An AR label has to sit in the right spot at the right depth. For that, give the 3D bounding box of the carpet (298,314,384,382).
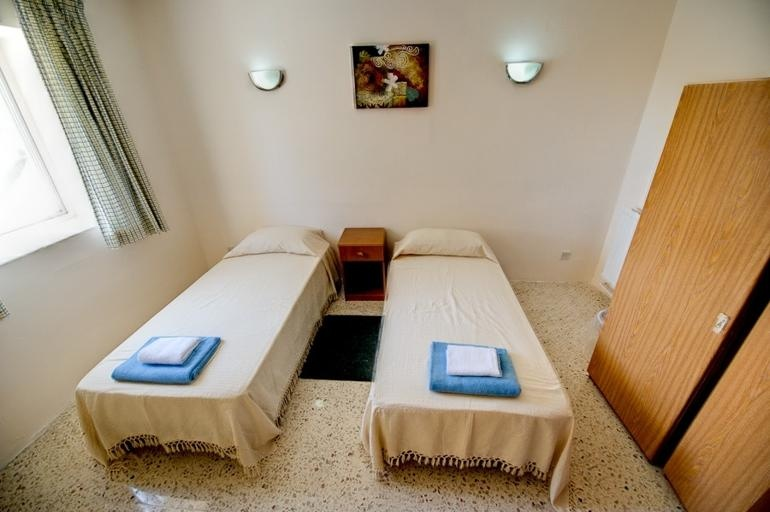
[{"bbox_3d":[-0.380,0.818,4.398,0.649,0.006,0.726,6,45,9],"label":"carpet"}]

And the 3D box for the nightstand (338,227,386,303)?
[{"bbox_3d":[-0.231,0.088,4.877,0.544,0.804,0.510,0,44,5],"label":"nightstand"}]

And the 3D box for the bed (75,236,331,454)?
[{"bbox_3d":[-1.378,0.603,4.587,1.558,0.888,2.691,0,26,11],"label":"bed"}]

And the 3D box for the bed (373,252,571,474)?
[{"bbox_3d":[0.722,0.784,4.420,1.524,0.630,2.508,3,28,6],"label":"bed"}]

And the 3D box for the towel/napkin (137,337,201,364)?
[{"bbox_3d":[-1.664,0.729,3.725,0.418,0.114,0.222,2,25,4],"label":"towel/napkin"}]

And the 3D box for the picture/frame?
[{"bbox_3d":[0.058,-1.673,4.428,0.586,0.445,0.061,1,28,4],"label":"picture/frame"}]
